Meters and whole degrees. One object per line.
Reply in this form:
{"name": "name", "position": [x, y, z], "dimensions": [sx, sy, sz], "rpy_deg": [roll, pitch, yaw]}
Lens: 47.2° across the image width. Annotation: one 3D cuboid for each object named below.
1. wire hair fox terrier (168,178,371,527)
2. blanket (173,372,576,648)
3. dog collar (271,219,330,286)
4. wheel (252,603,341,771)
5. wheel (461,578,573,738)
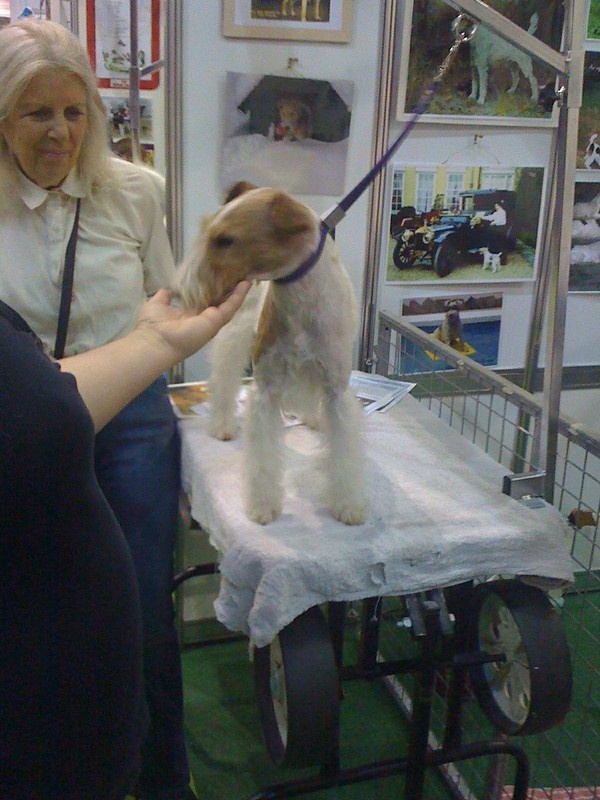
{"name": "wire hair fox terrier", "position": [-0.037, -0.100, 1.127], "dimensions": [0.265, 0.510, 0.624], "rpy_deg": [-1, 17, -4]}
{"name": "blanket", "position": [0.086, 0.179, 1.137], "dimensions": [0.520, 0.213, 0.509], "rpy_deg": [-3, 17, -15]}
{"name": "dog collar", "position": [0.001, -0.189, 0.885], "dimensions": [0.069, 0.084, 0.045], "rpy_deg": [1, 17, -2]}
{"name": "wheel", "position": [-0.003, 0.405, 0.948], "dimensions": [0.068, 0.198, 0.180], "rpy_deg": [1, 8, -11]}
{"name": "wheel", "position": [0.307, 0.389, 1.034], "dimensions": [0.068, 0.191, 0.211], "rpy_deg": [-27, 31, 38]}
